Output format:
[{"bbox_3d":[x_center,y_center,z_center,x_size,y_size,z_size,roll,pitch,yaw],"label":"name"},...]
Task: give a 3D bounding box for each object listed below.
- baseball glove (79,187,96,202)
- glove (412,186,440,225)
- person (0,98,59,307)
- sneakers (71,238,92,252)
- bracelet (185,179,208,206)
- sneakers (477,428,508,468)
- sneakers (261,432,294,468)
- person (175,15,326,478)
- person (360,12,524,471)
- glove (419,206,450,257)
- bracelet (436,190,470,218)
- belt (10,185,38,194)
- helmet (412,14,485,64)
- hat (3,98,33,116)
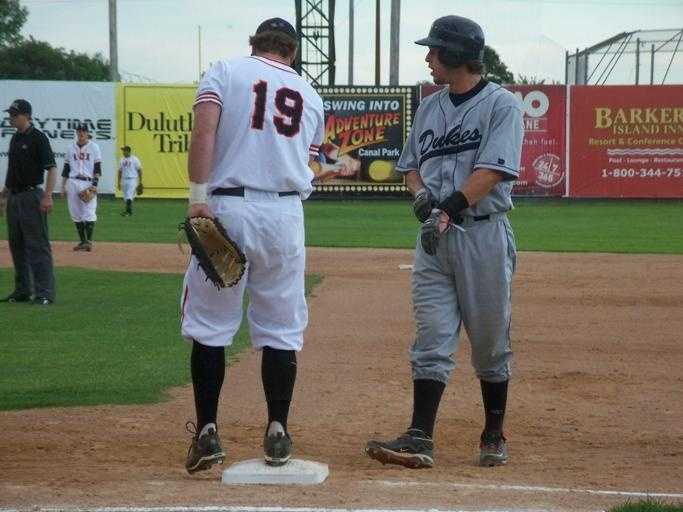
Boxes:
[{"bbox_3d":[-3.881,-0.936,18.470,0.189,0.181,0.243,-19,-1,-2],"label":"baseball glove"},{"bbox_3d":[0.651,-0.406,9.810,0.126,0.195,0.264,24,36,-33],"label":"glove"},{"bbox_3d":[-3.597,-0.604,13.777,0.657,2.286,0.867,-2,12,-11],"label":"person"},{"bbox_3d":[-4.011,-0.156,18.626,0.279,0.167,0.339,-1,11,-5],"label":"sneakers"},{"bbox_3d":[-1.113,-0.490,9.314,0.166,0.170,0.160,1,28,-2],"label":"bracelet"},{"bbox_3d":[1.236,1.552,9.762,0.293,0.253,0.224,-2,12,-11],"label":"sneakers"},{"bbox_3d":[-0.505,1.504,9.404,0.216,0.252,0.153,-1,12,-6],"label":"sneakers"},{"bbox_3d":[-0.716,-0.092,9.496,1.222,3.502,0.977,-4,13,-21],"label":"person"},{"bbox_3d":[0.896,-0.142,9.788,1.053,3.555,1.137,2,12,8],"label":"person"},{"bbox_3d":[0.708,-0.200,9.660,0.111,0.376,0.224,18,-6,-26],"label":"glove"},{"bbox_3d":[0.888,-0.398,9.687,0.232,0.185,0.193,-44,12,-18],"label":"bracelet"},{"bbox_3d":[-3.610,-0.752,13.675,0.306,0.089,0.070,0,12,-3],"label":"belt"},{"bbox_3d":[0.886,-1.755,9.721,0.517,0.355,0.274,1,12,3],"label":"helmet"},{"bbox_3d":[-3.710,-1.712,13.892,0.398,0.223,0.272,5,10,-13],"label":"hat"}]
